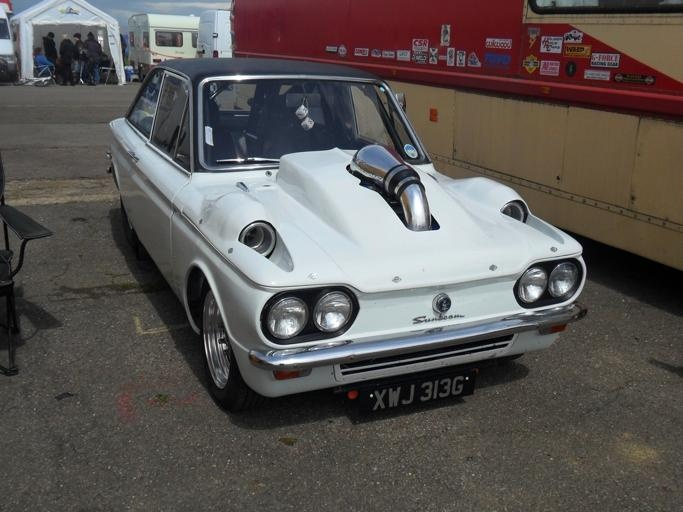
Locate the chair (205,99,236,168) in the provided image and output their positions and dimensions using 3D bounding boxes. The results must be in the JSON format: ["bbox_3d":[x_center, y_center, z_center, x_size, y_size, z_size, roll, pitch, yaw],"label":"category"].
[{"bbox_3d":[-0.929,-0.960,3.710,0.233,0.547,0.111,-5,-4,-38],"label":"chair"}]
